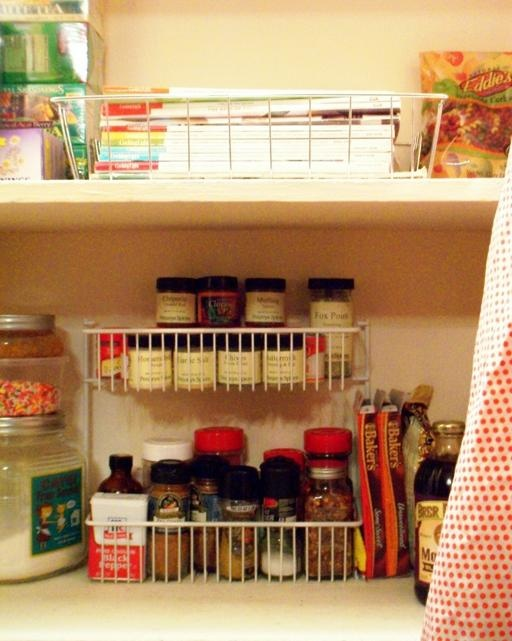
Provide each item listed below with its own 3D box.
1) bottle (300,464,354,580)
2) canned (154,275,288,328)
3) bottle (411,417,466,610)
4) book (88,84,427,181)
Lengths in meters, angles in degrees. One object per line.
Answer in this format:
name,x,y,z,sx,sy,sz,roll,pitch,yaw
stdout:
bottle,0.102,0.276,0.902,0.068,0.164,0.097,0,3,9
canned,-0.050,-0.030,1.010,0.189,0.076,0.138,0,3,4
bottle,0.231,0.245,0.817,0.059,0.230,0.057,0,3,0
book,-0.001,-0.250,0.860,0.443,0.131,0.069,0,3,4
